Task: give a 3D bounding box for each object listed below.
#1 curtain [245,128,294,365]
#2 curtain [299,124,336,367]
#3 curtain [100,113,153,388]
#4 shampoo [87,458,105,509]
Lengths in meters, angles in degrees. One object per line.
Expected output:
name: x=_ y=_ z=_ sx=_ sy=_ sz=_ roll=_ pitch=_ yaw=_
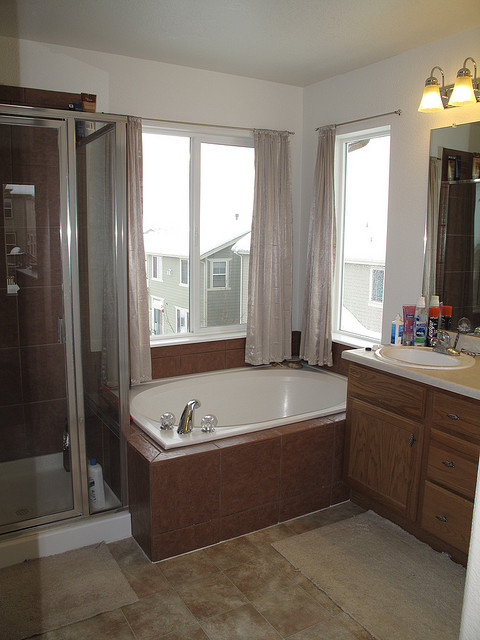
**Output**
curtain: x=0.237 y=-0.562 z=3.666 sx=0.406 sy=1.811 sz=0.120 roll=-4 pitch=7 yaw=-32
curtain: x=0.599 y=-0.550 z=3.568 sx=0.277 sy=1.787 sz=0.165 roll=3 pitch=7 yaw=20
curtain: x=-0.722 y=-0.407 z=3.122 sx=0.364 sy=1.856 sz=0.112 roll=1 pitch=6 yaw=35
shampoo: x=-0.744 y=0.845 z=2.411 sx=0.077 sy=0.258 sz=0.051 roll=-2 pitch=7 yaw=-22
